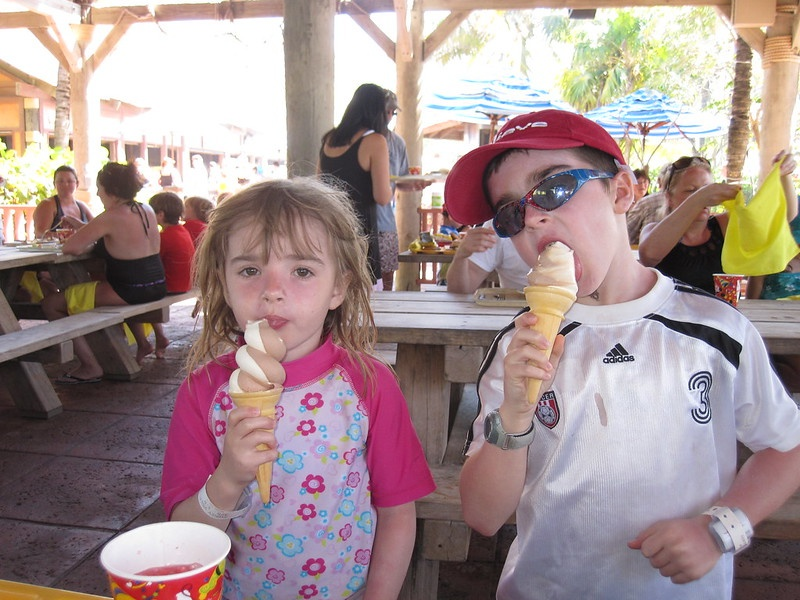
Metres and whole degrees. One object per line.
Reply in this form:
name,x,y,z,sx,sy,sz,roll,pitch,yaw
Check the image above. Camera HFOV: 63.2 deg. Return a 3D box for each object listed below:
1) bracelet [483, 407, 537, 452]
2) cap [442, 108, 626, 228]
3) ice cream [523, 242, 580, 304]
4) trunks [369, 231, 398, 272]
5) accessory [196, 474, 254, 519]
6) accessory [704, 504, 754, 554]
bracelet,0.335,0.383,1.989,0.118,0.074,0.132,19,14,-13
cap,0.440,-0.450,2.192,0.519,0.277,0.394,5,-19,-11
ice cream,0.465,-0.088,1.955,0.141,0.160,0.167,4,15,16
trunks,-0.098,-0.409,5.684,0.294,0.308,0.287,-5,6,-27
accessory,-0.510,0.583,1.924,0.165,0.126,0.107,-8,17,-28
accessory,0.964,0.698,1.920,0.131,0.166,0.100,7,16,25
